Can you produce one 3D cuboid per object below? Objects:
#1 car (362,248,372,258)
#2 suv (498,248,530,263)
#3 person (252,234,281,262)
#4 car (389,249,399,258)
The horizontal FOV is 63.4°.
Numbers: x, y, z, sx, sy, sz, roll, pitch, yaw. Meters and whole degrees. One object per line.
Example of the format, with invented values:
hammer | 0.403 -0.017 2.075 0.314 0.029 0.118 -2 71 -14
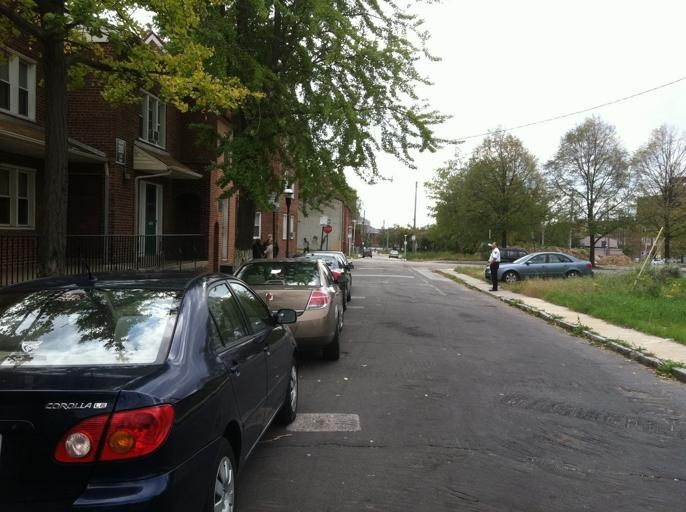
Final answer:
car | 3.708 -0.323 84.989 0.984 1.176 1.971 1 8 7
suv | 11.546 -0.063 37.753 1.993 1.119 1.239 -2 8 1
person | -3.248 -0.342 23.224 0.871 0.974 2.484 19 -8 -14
car | 7.307 -0.178 80.665 1.060 0.961 2.666 0 -5 6
